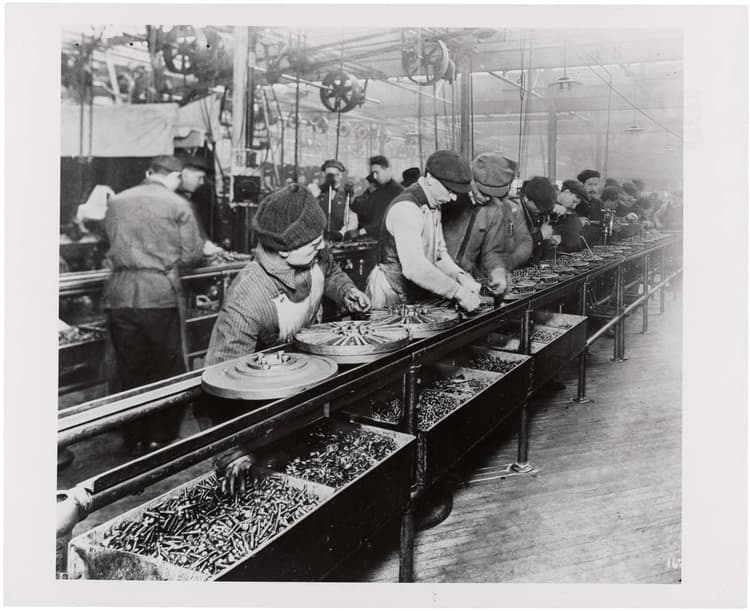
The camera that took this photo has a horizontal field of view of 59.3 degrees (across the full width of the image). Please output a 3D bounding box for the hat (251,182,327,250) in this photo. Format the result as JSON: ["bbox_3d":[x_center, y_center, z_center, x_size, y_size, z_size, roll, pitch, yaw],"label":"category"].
[{"bbox_3d":[-0.371,-0.367,2.751,0.199,0.214,0.296,-23,15,0],"label":"hat"}]

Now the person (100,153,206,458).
[{"bbox_3d":[-0.808,-0.134,2.441,0.387,0.816,0.166,-8,15,-31],"label":"person"}]

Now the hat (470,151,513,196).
[{"bbox_3d":[0.715,-0.795,4.019,0.200,0.311,0.093,-7,0,-24],"label":"hat"}]

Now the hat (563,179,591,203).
[{"bbox_3d":[1.338,-0.769,4.378,0.145,0.064,0.104,41,0,26],"label":"hat"}]

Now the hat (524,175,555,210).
[{"bbox_3d":[1.103,-0.746,4.398,0.168,0.234,0.074,-38,28,-11],"label":"hat"}]

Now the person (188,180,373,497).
[{"bbox_3d":[-0.353,-0.162,2.770,0.190,0.670,0.833,12,18,41],"label":"person"}]
